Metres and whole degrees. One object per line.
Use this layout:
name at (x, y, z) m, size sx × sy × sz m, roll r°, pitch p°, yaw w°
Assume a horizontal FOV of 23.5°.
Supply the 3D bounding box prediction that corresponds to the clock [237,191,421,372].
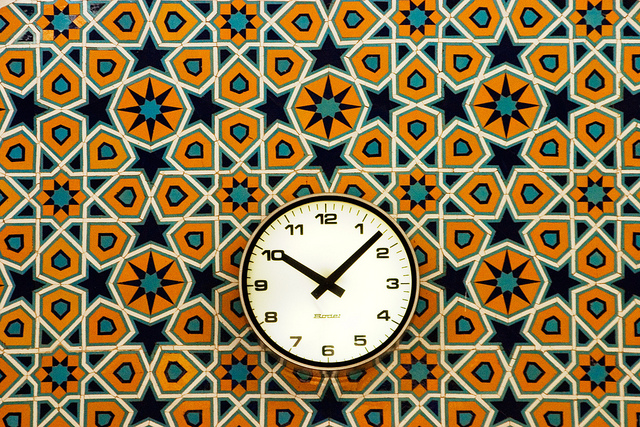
clock at (0.020, 0.202, 4.578) m, size 0.562 × 0.070 × 0.512 m, roll 0°, pitch 90°, yaw -21°
